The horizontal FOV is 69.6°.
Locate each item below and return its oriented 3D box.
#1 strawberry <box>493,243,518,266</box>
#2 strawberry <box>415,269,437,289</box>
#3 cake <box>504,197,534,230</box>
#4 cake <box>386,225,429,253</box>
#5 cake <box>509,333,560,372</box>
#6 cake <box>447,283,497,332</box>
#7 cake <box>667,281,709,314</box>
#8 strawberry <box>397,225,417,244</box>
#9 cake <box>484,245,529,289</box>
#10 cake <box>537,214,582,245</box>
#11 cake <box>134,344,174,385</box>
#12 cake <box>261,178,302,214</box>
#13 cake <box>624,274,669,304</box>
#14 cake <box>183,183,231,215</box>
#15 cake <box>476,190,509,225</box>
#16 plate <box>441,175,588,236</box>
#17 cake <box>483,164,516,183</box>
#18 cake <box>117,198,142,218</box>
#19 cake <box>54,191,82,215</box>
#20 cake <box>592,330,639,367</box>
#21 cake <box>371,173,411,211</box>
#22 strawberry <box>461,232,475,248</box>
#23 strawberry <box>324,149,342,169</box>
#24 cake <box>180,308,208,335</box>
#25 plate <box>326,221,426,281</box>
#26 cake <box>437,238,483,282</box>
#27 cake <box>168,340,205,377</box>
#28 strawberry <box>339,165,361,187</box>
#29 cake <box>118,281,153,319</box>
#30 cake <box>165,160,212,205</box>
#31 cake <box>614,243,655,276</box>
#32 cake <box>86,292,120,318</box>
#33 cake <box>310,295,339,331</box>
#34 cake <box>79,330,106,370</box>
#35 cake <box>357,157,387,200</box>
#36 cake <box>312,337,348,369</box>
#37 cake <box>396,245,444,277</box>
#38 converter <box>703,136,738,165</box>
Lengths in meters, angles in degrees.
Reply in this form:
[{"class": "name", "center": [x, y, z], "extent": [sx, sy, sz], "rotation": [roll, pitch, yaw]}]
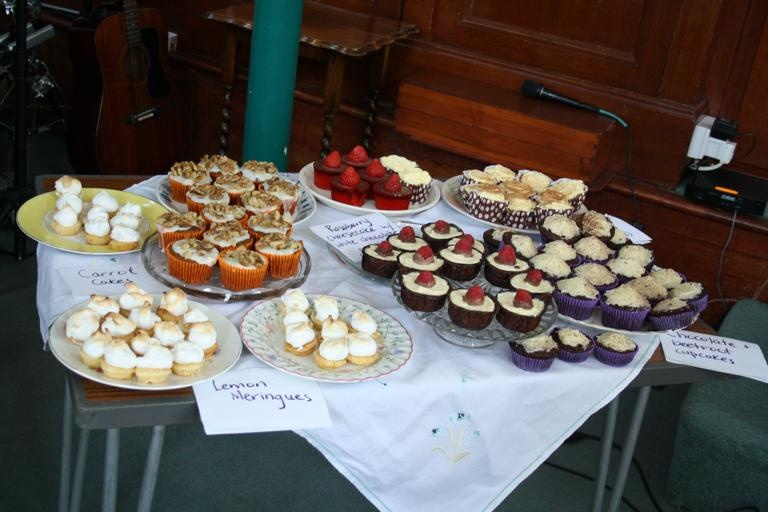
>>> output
[{"class": "strawberry", "center": [0.350, 0.003, 1.574], "extent": [0.058, 0.039, 0.059], "rotation": [8, 29, -2]}, {"class": "strawberry", "center": [0.108, 0.064, 1.430], "extent": [0.045, 0.028, 0.045], "rotation": [20, 30, 25]}, {"class": "cake", "center": [0.468, -0.139, 1.942], "extent": [0.113, 0.098, 0.109], "rotation": [9, 26, 0]}, {"class": "cake", "center": [0.071, -0.065, 1.604], "extent": [0.092, 0.039, 0.088], "rotation": [1, 31, -7]}, {"class": "cake", "center": [0.377, 0.243, 1.424], "extent": [0.096, 0.063, 0.105], "rotation": [0, 21, -1]}, {"class": "cake", "center": [0.221, 0.137, 1.388], "extent": [0.120, 0.083, 0.115], "rotation": [14, 28, 7]}, {"class": "cake", "center": [0.886, 0.115, 1.620], "extent": [0.099, 0.060, 0.095], "rotation": [0, 13, -2]}, {"class": "strawberry", "center": [0.067, -0.058, 1.619], "extent": [0.049, 0.047, 0.046], "rotation": [5, 38, -3]}, {"class": "cake", "center": [0.341, 0.043, 1.627], "extent": [0.129, 0.106, 0.122], "rotation": [0, 40, -8]}, {"class": "cake", "center": [0.567, -0.080, 1.768], "extent": [0.106, 0.067, 0.102], "rotation": [16, 32, 4]}, {"class": "cake", "center": [-0.485, 0.236, 1.167], "extent": [0.082, 0.068, 0.078], "rotation": [2, 6, -8]}, {"class": "cake", "center": [-0.323, -0.202, 1.815], "extent": [0.113, 0.103, 0.122], "rotation": [-18, 34, -20]}, {"class": "cake", "center": [0.763, 0.079, 1.580], "extent": [0.092, 0.051, 0.090], "rotation": [14, 25, 11]}, {"class": "cake", "center": [-0.538, -0.178, 1.679], "extent": [0.101, 0.069, 0.105], "rotation": [3, 28, -6]}, {"class": "cake", "center": [0.374, -0.166, 1.963], "extent": [0.115, 0.095, 0.111], "rotation": [21, 20, -2]}, {"class": "plate", "center": [0.374, -0.217, 2.061], "extent": [0.315, 0.040, 0.297], "rotation": [-8, 37, -32]}, {"class": "cake", "center": [0.453, -0.325, 2.092], "extent": [0.092, 0.022, 0.090], "rotation": [30, 26, 24]}, {"class": "cake", "center": [-0.735, -0.140, 1.596], "extent": [0.051, 0.034, 0.050], "rotation": [19, 26, 8]}, {"class": "cake", "center": [-0.887, -0.145, 1.549], "extent": [0.054, 0.043, 0.052], "rotation": [10, 36, -4]}, {"class": "cake", "center": [0.606, 0.246, 1.436], "extent": [0.096, 0.055, 0.093], "rotation": [1, 19, 0]}, {"class": "cake", "center": [0.021, -0.202, 1.869], "extent": [0.133, 0.109, 0.127], "rotation": [1, 33, -6]}, {"class": "strawberry", "center": [0.240, -0.045, 1.588], "extent": [0.033, 0.022, 0.039], "rotation": [2, 12, -4]}, {"class": "strawberry", "center": [-0.184, -0.338, 1.980], "extent": [0.072, 0.061, 0.067], "rotation": [7, 64, -9]}, {"class": "cake", "center": [-0.425, 0.152, 1.271], "extent": [0.062, 0.056, 0.060], "rotation": [8, 18, 8]}, {"class": "plate", "center": [-0.049, -0.024, 1.702], "extent": [0.232, 0.051, 0.211], "rotation": [-5, 35, -21]}, {"class": "cake", "center": [0.219, 0.012, 1.625], "extent": [0.117, 0.107, 0.133], "rotation": [3, 28, 1]}, {"class": "cake", "center": [-0.425, 0.226, 1.186], "extent": [0.070, 0.057, 0.067], "rotation": [4, 22, -1]}, {"class": "strawberry", "center": [-0.121, -0.273, 1.857], "extent": [0.071, 0.064, 0.068], "rotation": [-4, 29, -18]}, {"class": "cake", "center": [-0.582, 0.121, 1.336], "extent": [0.082, 0.074, 0.079], "rotation": [16, 27, 0]}, {"class": "cake", "center": [-0.624, -0.229, 1.793], "extent": [0.135, 0.117, 0.144], "rotation": [3, 27, -7]}, {"class": "cake", "center": [0.809, 0.013, 1.769], "extent": [0.101, 0.084, 0.095], "rotation": [1, 47, -3]}, {"class": "cake", "center": [-0.644, 0.116, 1.265], "extent": [0.059, 0.034, 0.057], "rotation": [12, 20, -4]}, {"class": "cake", "center": [-0.147, 0.136, 1.365], "extent": [0.075, 0.043, 0.070], "rotation": [10, 55, -29]}, {"class": "cake", "center": [-0.616, 0.204, 1.167], "extent": [0.056, 0.053, 0.054], "rotation": [22, 16, -6]}, {"class": "cake", "center": [-0.037, -0.273, 1.940], "extent": [0.129, 0.130, 0.121], "rotation": [4, 34, 1]}, {"class": "cake", "center": [-0.121, 0.225, 1.272], "extent": [0.080, 0.050, 0.056], "rotation": [3, 36, -4]}, {"class": "cake", "center": [0.094, 0.018, 1.527], "extent": [0.094, 0.077, 0.096], "rotation": [36, 38, 31]}, {"class": "converter", "center": [1.536, -0.480, 2.531], "extent": [0.130, 0.078, 0.125], "rotation": [-5, 21, -29]}]
